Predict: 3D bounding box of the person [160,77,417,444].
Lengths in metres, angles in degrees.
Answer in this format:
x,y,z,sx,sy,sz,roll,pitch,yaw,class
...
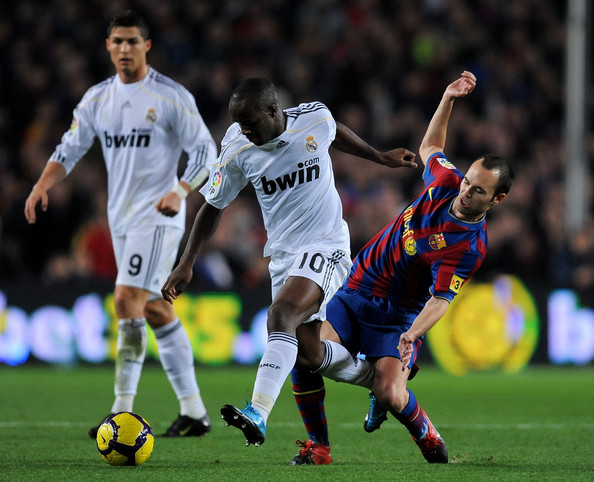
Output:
x,y,z,sx,sy,sz,roll,pitch,yaw,class
-0.062,0.086,5.983,1.556,2.302,1.137,1,6,-38,person

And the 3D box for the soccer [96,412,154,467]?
x,y,z,sx,sy,sz,roll,pitch,yaw,class
-1.146,1.286,5.906,0.313,0.356,0.324,-3,6,-6,soccer
